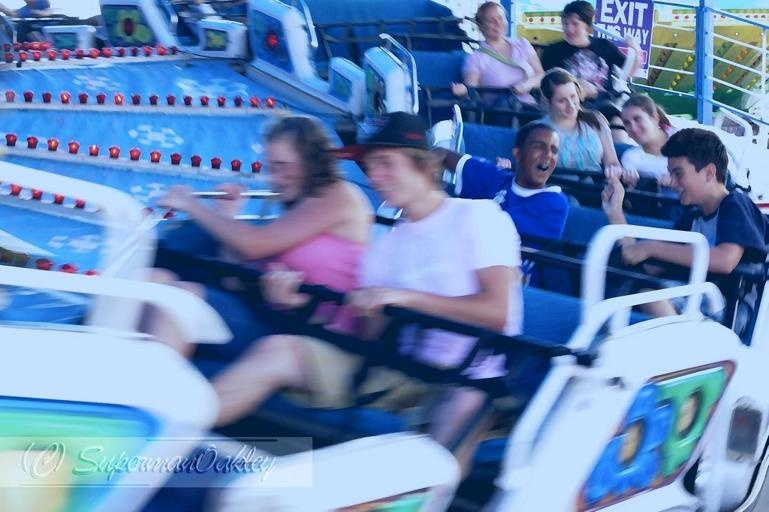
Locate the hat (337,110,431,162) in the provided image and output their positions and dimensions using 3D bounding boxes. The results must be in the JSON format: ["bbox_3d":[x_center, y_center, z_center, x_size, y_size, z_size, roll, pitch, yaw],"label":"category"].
[{"bbox_3d":[0.013,-0.279,1.635,0.173,0.072,0.116,5,-2,-6],"label":"hat"}]

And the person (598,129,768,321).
[{"bbox_3d":[0.936,-0.119,2.080,0.446,0.463,0.739,5,19,6],"label":"person"}]
